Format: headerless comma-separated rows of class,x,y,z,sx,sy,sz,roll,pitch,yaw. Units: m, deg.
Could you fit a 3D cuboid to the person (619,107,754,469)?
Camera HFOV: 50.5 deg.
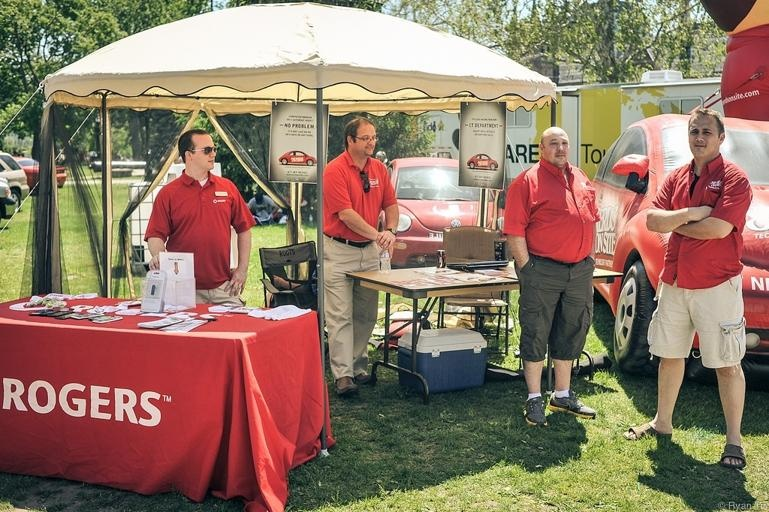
person,2.588,0.194,6.811,0.813,2.807,0.380,2,7,23

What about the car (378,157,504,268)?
car,0.733,-0.767,12.410,1.137,0.975,1.974,-1,3,-12

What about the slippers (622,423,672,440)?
slippers,2.301,1.536,7.094,0.331,0.103,0.165,2,-1,10

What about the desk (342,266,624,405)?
desk,1.051,0.545,8.598,2.462,1.139,1.053,-14,11,-31

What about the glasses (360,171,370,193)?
glasses,-0.195,-0.732,8.035,0.095,0.195,0.037,-13,7,-26

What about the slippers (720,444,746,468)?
slippers,2.856,1.640,6.678,0.147,0.123,0.391,-2,-3,22

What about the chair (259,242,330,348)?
chair,-1.027,0.320,8.921,0.728,1.098,0.776,-2,2,-25
